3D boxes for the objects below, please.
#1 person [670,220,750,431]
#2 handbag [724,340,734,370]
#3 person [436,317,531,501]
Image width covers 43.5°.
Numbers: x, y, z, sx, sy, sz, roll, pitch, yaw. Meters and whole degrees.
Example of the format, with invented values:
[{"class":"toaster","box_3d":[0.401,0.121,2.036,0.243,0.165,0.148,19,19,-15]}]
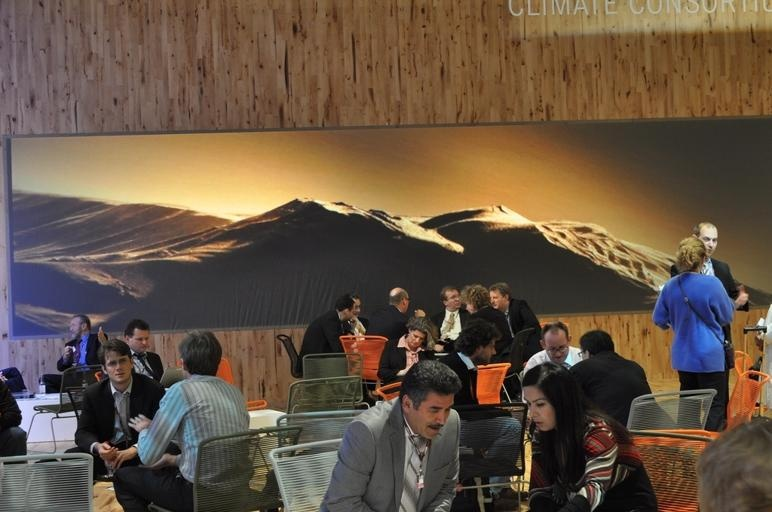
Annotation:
[{"class":"person","box_3d":[4.119,1.035,12.678,1.111,2.967,0.963,-8,19,-2]},{"class":"handbag","box_3d":[4.036,1.175,11.423,0.101,0.341,0.284,-2,-7,21]},{"class":"person","box_3d":[1.214,1.587,10.685,0.795,1.121,0.820,23,-18,-26]}]
